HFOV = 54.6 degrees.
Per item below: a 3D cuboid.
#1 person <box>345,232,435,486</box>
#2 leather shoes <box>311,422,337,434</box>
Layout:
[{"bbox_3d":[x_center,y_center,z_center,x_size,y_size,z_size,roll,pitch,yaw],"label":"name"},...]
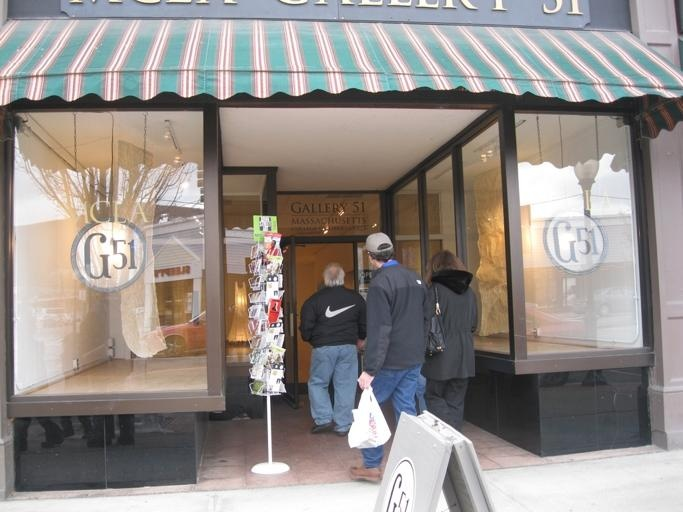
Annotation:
[{"bbox_3d":[0.435,0.962,6.188,0.625,2.313,0.841,1,6,20],"label":"person"},{"bbox_3d":[-0.215,2.018,7.771,0.303,0.129,0.105,6,-6,-12],"label":"leather shoes"}]
